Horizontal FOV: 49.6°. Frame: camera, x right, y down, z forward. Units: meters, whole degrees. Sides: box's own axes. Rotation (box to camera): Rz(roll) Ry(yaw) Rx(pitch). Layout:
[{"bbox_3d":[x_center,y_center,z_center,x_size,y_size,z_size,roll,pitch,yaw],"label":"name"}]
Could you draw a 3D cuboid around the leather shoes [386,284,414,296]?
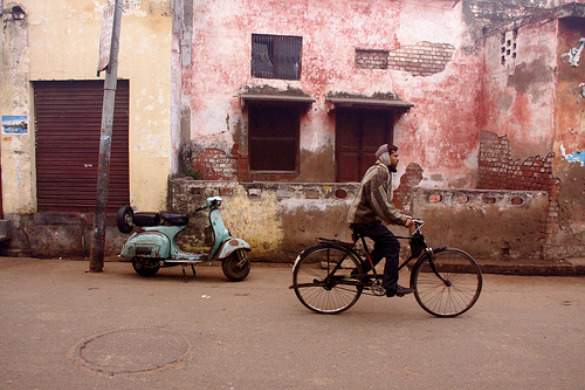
[{"bbox_3d":[1.905,1.714,11.364,0.536,0.208,0.199,-4,-2,1],"label":"leather shoes"}]
